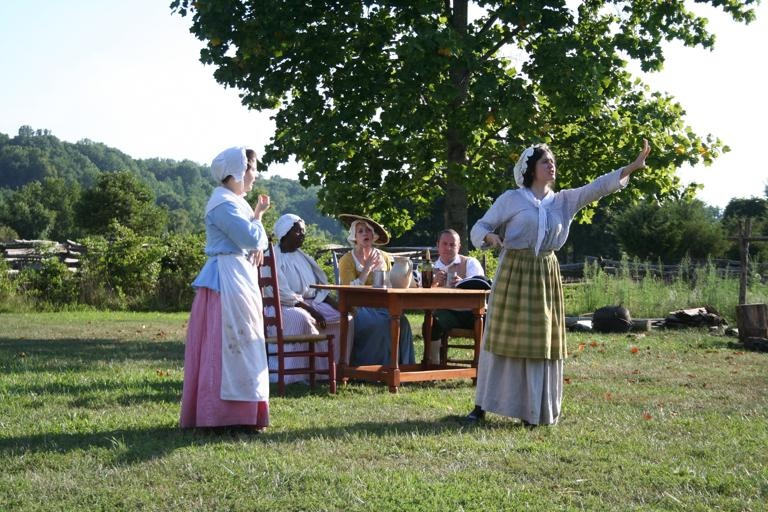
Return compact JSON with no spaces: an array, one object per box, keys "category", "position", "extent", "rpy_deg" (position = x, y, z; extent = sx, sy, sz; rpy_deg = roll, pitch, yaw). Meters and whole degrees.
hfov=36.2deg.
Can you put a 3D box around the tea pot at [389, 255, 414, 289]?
[{"category":"tea pot","position":[0.278,0.255,19.782],"extent":[0.377,0.569,0.320],"rpy_deg":[2,-6,-1]}]

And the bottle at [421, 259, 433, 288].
[{"category":"bottle","position":[0.725,0.296,19.840],"extent":[0.188,0.463,0.158],"rpy_deg":[2,-6,0]}]

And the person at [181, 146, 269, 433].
[{"category":"person","position":[-2.313,0.469,17.755],"extent":[1.282,4.286,0.500],"rpy_deg":[3,-6,-10]}]

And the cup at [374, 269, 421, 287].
[{"category":"cup","position":[0.228,0.409,19.957],"extent":[0.582,0.417,0.342],"rpy_deg":[2,-3,3]}]

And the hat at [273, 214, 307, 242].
[{"category":"hat","position":[-1.650,-0.502,20.264],"extent":[0.484,0.395,0.424],"rpy_deg":[-6,-4,28]}]
